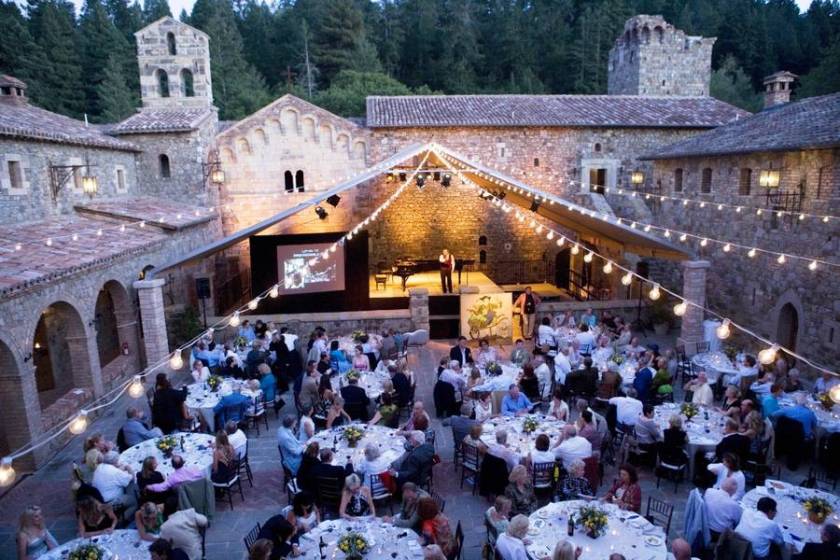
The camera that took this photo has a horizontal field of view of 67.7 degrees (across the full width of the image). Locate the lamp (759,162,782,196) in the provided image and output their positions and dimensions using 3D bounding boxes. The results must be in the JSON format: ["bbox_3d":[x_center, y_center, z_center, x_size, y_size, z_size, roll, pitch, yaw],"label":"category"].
[{"bbox_3d":[11.254,-3.205,20.030,0.554,1.029,1.114,7,16,29],"label":"lamp"}]

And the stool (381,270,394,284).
[{"bbox_3d":[-1.334,-0.090,26.907,0.557,0.583,0.566,-3,10,-9],"label":"stool"}]

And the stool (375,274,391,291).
[{"bbox_3d":[-1.571,0.216,26.879,0.608,0.824,0.933,-2,9,-1],"label":"stool"}]

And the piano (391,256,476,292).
[{"bbox_3d":[0.337,-0.248,25.796,3.712,1.408,2.113,-3,8,-9],"label":"piano"}]

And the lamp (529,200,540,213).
[{"bbox_3d":[4.271,-2.719,23.119,0.281,0.473,0.302,7,55,-1],"label":"lamp"}]

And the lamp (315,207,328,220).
[{"bbox_3d":[-3.905,-2.612,24.825,0.370,0.514,0.937,-4,14,-10],"label":"lamp"}]
